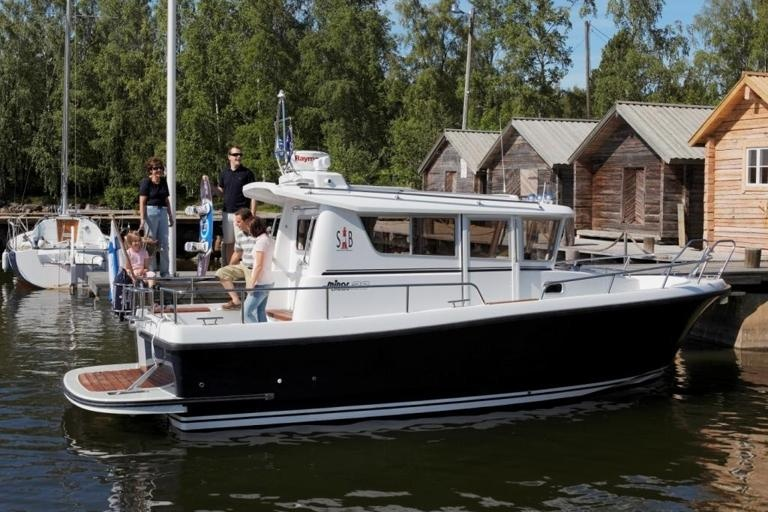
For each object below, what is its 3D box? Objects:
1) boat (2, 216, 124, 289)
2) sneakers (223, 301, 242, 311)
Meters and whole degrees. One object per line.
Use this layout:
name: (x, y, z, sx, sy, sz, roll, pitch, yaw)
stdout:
boat: (-11.650, 0.128, 38.421, 3.214, 1.925, 5.767, 0, 8, -24)
sneakers: (-3.641, 1.179, 25.761, 0.566, 0.201, 0.197, 4, 5, 3)
